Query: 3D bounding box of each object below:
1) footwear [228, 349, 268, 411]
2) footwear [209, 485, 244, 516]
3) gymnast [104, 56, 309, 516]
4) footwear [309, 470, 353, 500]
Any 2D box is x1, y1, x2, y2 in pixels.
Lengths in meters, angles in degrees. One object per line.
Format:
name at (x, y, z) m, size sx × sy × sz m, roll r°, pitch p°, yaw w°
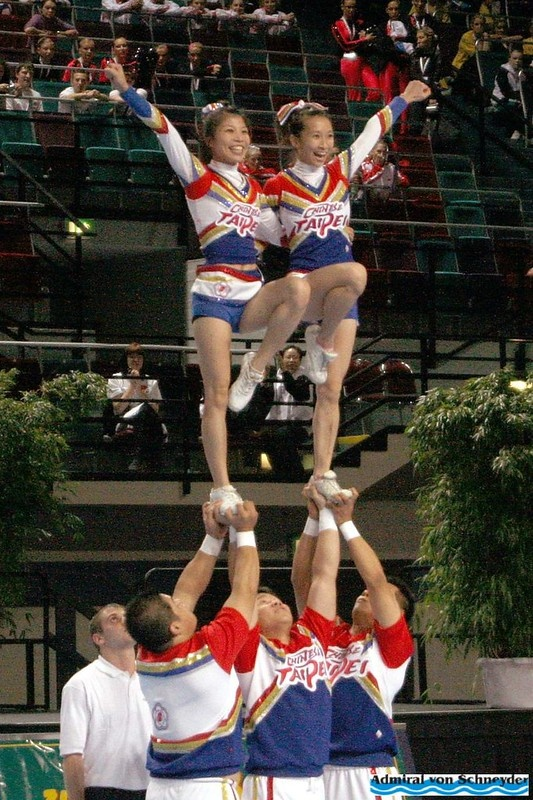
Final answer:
footwear at (-0.072, -0.071, 9.759) m, size 0.129 × 0.367 × 0.159 m, roll 27°, pitch -8°, yaw -15°
footwear at (-0.196, 0.489, 9.312) m, size 0.090 × 0.082 × 0.206 m, roll -8°, pitch 7°, yaw -24°
gymnast at (-0.240, -0.562, 9.632) m, size 0.912 × 2.023 × 0.426 m, roll 0°, pitch -4°, yaw 0°
footwear at (0.340, 0.438, 9.555) m, size 0.096 × 0.125 × 0.267 m, roll -23°, pitch 26°, yaw -33°
